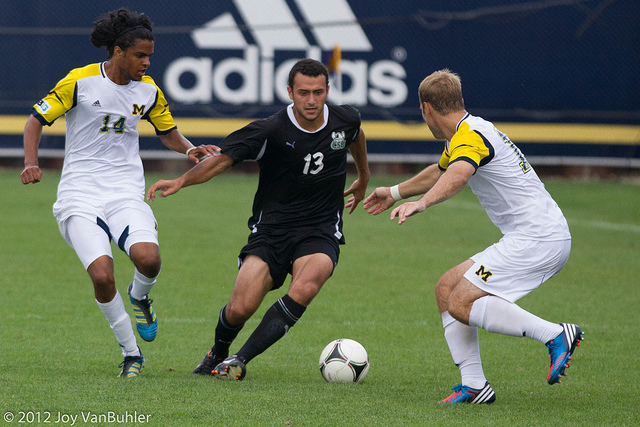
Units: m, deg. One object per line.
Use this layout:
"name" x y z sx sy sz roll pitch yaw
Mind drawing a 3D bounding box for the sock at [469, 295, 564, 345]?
"sock" 1.875 1.022 9.897 0.890 0.365 0.124 10 14 9

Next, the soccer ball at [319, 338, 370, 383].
"soccer ball" 0.225 1.501 10.375 0.487 0.401 0.219 8 14 0

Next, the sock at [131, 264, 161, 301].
"sock" -1.855 0.739 10.674 0.202 0.409 0.294 3 15 -20

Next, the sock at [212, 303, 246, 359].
"sock" -1.000 1.319 10.514 0.245 0.688 0.280 11 11 -27

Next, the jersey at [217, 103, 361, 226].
"jersey" -0.300 -0.499 10.690 1.316 1.243 0.465 5 14 -8

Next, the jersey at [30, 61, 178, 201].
"jersey" -2.266 -0.821 10.576 1.363 1.421 0.578 5 14 -12

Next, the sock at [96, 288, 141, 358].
"sock" -2.026 1.134 10.502 0.426 0.649 0.524 2 -3 -12

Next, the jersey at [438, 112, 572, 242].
"jersey" 2.316 -0.482 13.096 2.073 0.995 1.500 47 19 -11
